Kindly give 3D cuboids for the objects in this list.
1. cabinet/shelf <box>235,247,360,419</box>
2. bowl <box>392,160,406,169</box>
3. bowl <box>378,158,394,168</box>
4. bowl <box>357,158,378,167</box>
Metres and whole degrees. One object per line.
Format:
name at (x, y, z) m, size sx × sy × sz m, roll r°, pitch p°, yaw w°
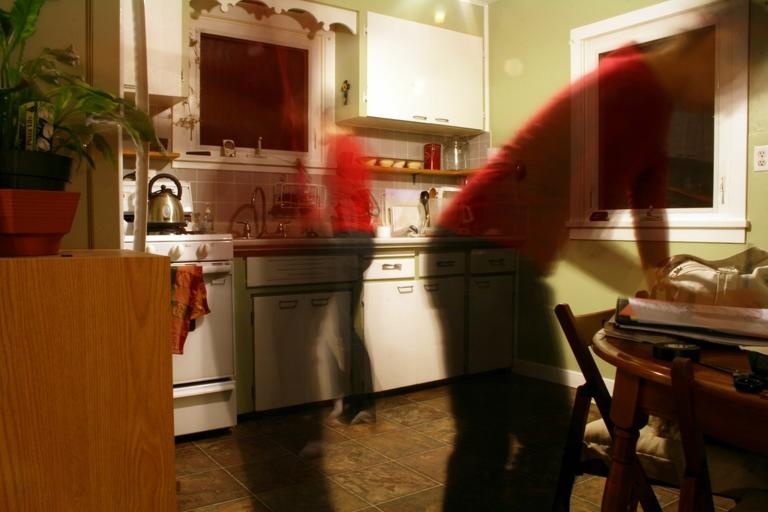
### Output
cabinet/shelf at (-0.572, 0.380, 3.651) m, size 0.869 × 1.175 × 0.773 m, roll -1°, pitch 6°, yaw -22°
bowl at (0.122, -0.679, 4.318) m, size 0.081 × 0.054 × 0.065 m, roll 6°, pitch -3°, yaw -4°
bowl at (0.020, -0.682, 4.276) m, size 0.111 × 0.071 × 0.195 m, roll 1°, pitch 7°, yaw 3°
bowl at (-0.100, -0.664, 4.210) m, size 0.081 × 0.055 × 0.085 m, roll 1°, pitch 8°, yaw 0°
